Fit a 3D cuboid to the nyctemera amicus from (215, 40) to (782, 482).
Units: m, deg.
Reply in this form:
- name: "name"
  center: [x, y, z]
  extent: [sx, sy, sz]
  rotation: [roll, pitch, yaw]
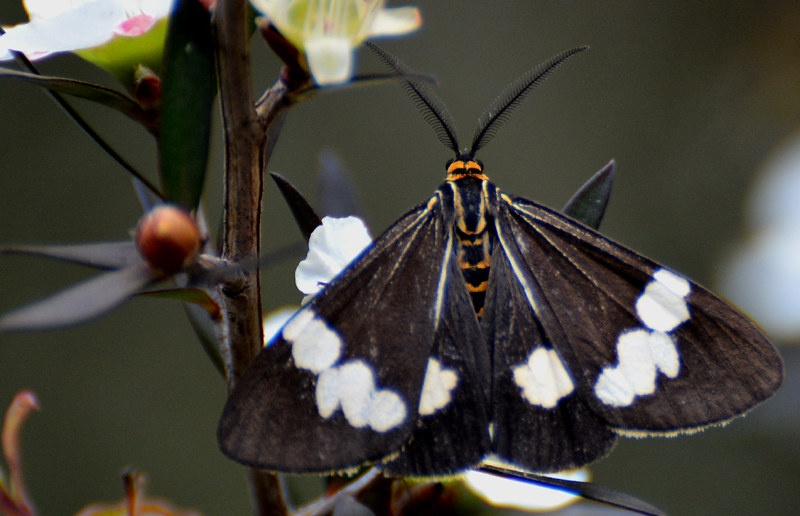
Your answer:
- name: "nyctemera amicus"
  center: [0.196, 0.172, 2.827]
  extent: [0.996, 0.256, 0.935]
  rotation: [-3, 77, 0]
